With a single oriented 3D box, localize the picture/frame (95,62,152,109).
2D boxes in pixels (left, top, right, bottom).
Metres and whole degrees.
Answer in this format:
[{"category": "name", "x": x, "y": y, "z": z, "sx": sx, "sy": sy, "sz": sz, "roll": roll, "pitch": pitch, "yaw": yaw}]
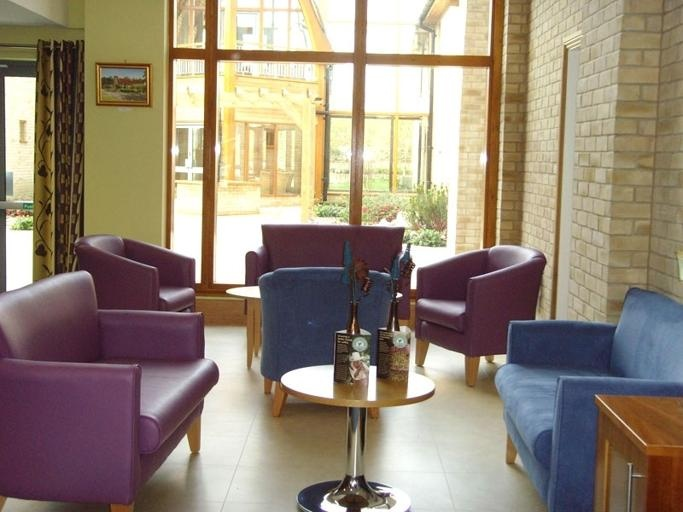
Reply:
[{"category": "picture/frame", "x": -2.242, "y": -1.777, "z": 6.469, "sx": 0.405, "sy": 0.350, "sz": 0.029, "roll": 0, "pitch": 3, "yaw": -3}]
